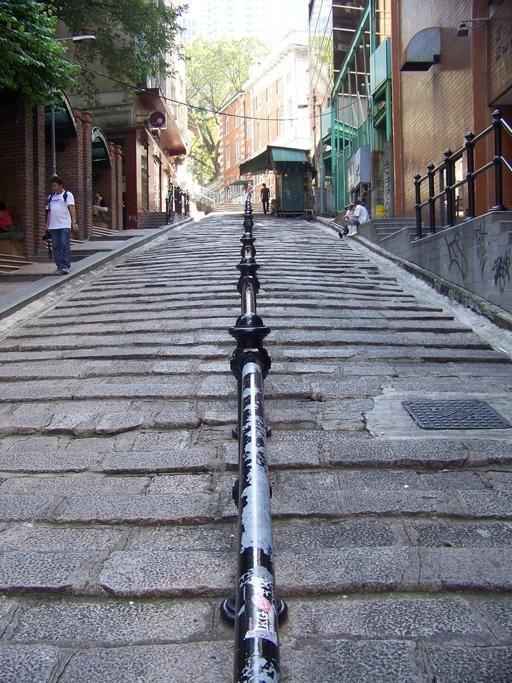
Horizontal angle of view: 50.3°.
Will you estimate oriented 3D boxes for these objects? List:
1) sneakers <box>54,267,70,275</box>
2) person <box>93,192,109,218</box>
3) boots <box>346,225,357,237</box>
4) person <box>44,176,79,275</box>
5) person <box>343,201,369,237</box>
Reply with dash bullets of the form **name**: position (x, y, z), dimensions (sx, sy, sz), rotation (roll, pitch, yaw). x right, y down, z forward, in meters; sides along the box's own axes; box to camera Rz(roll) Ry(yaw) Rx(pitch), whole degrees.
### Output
- **sneakers**: position (-3.408, -1.214, 9.577), dimensions (0.256, 0.118, 0.112), rotation (-4, -9, 14)
- **person**: position (-5.597, -4.891, 19.710), dimensions (0.521, 0.878, 1.149), rotation (-4, 10, -14)
- **boots**: position (2.800, -3.153, 15.676), dimensions (0.411, 0.416, 0.202), rotation (-1, 7, 18)
- **person**: position (-3.432, -2.041, 9.624), dimensions (0.489, 1.718, 0.808), rotation (-5, 10, -20)
- **person**: position (2.939, -3.619, 16.102), dimensions (0.711, 1.012, 2.206), rotation (1, 11, 10)
